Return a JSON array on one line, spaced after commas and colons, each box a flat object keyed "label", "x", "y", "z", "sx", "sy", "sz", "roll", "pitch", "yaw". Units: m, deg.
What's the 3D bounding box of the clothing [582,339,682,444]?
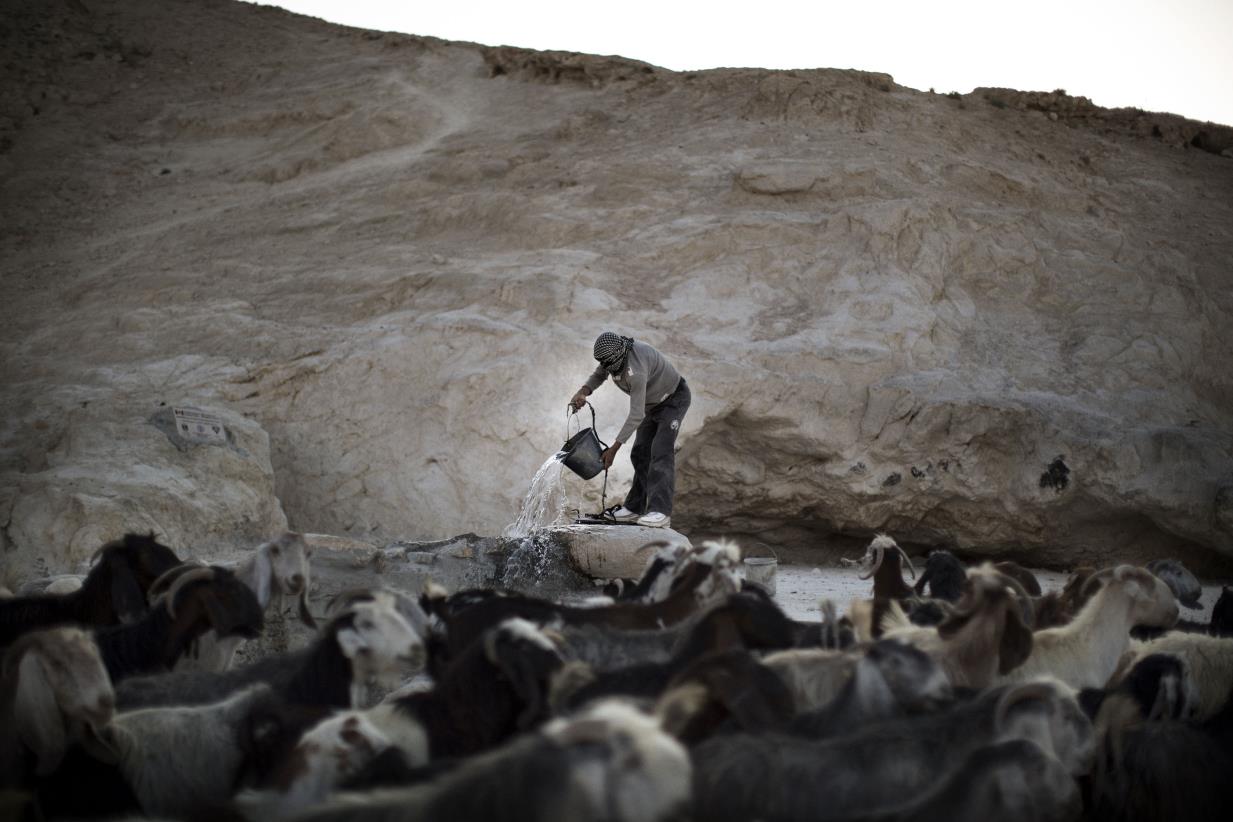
[{"label": "clothing", "x": 0.158, "y": -0.342, "z": 20.631, "sx": 1.513, "sy": 1.064, "sz": 1.144, "roll": -11, "pitch": 30, "yaw": 2}]

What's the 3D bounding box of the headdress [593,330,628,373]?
[{"label": "headdress", "x": -0.037, "y": -0.749, "z": 20.220, "sx": 0.394, "sy": 0.485, "sz": 0.444, "roll": -2, "pitch": -32, "yaw": 10}]
